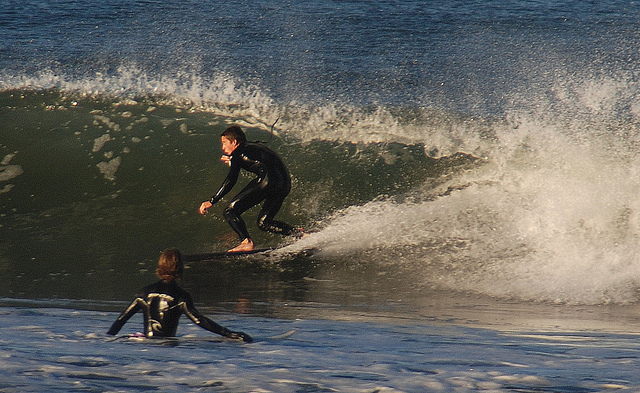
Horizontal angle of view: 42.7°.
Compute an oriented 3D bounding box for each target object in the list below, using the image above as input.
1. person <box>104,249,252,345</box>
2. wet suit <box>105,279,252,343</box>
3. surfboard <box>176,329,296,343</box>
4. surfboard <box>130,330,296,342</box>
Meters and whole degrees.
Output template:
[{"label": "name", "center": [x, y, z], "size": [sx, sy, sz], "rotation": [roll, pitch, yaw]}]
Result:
[{"label": "person", "center": [-2.123, 1.557, 12.360], "size": [2.346, 0.924, 0.426], "rotation": [5, 22, 7]}, {"label": "wet suit", "center": [-2.072, 1.694, 11.603], "size": [2.955, 0.874, 0.788], "rotation": [-3, 72, 28]}, {"label": "surfboard", "center": [-1.191, 1.962, 11.531], "size": [2.815, 0.149, 0.219], "rotation": [-1, 12, 1]}, {"label": "surfboard", "center": [-1.531, 1.951, 11.468], "size": [2.910, 0.224, 0.104], "rotation": [0, 75, 2]}]
